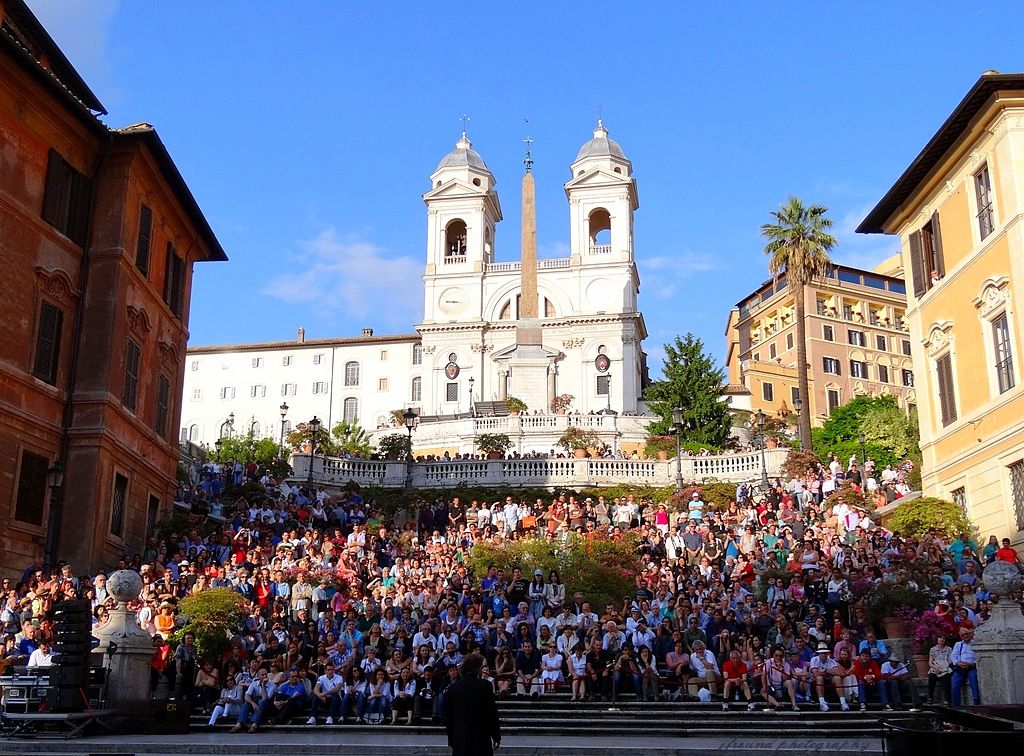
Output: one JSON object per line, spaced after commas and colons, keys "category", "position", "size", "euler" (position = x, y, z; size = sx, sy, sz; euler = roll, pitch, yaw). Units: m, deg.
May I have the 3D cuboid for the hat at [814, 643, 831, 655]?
{"category": "hat", "position": [6.149, 5.390, 22.445], "size": [0.240, 0.106, 0.248], "euler": [4, -20, -32]}

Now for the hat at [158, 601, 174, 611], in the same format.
{"category": "hat", "position": [-7.589, 5.000, 24.792], "size": [0.183, 0.209, 0.246], "euler": [7, -32, -8]}
